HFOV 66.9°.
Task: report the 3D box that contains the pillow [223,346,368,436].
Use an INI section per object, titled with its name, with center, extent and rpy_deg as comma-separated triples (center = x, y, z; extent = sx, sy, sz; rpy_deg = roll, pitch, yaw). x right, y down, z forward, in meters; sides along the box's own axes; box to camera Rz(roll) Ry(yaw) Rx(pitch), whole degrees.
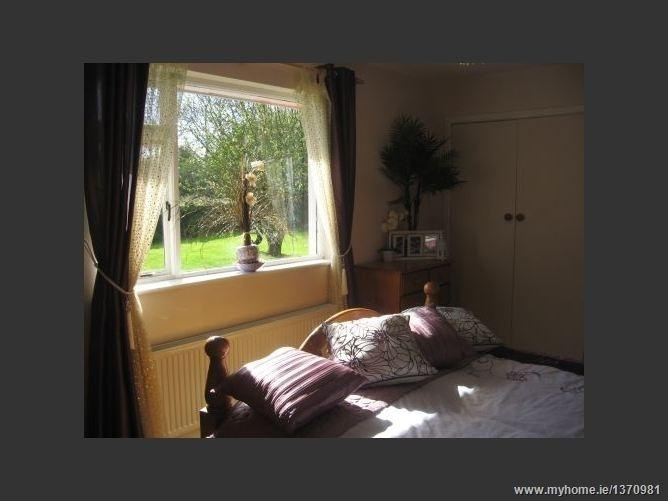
[pillow]
center = -0.100, 0.360, 1.351
extent = 0.184, 0.071, 0.234
rpy_deg = -25, 27, -38

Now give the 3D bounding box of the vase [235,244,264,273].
[vase]
center = -0.317, 0.031, 1.886
extent = 0.093, 0.095, 0.096
rpy_deg = -3, -6, -9
